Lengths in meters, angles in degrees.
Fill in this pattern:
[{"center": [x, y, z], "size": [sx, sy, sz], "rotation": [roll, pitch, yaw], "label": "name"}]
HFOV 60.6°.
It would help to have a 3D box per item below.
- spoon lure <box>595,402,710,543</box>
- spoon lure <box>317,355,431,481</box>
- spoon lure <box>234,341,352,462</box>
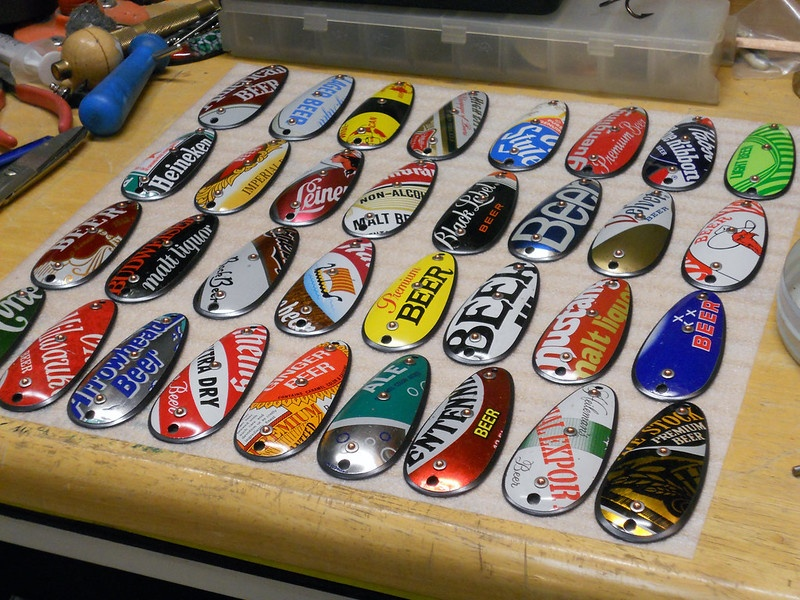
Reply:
[{"center": [0.153, 0.107, 0.420], "size": [0.052, 0.015, 0.090], "rotation": [31, 58, 29], "label": "spoon lure"}, {"center": [-0.013, 0.077, 0.457], "size": [0.051, 0.019, 0.089], "rotation": [25, 47, 23], "label": "spoon lure"}, {"center": [-0.064, 0.070, 0.472], "size": [0.052, 0.015, 0.087], "rotation": [30, 58, 30], "label": "spoon lure"}]
